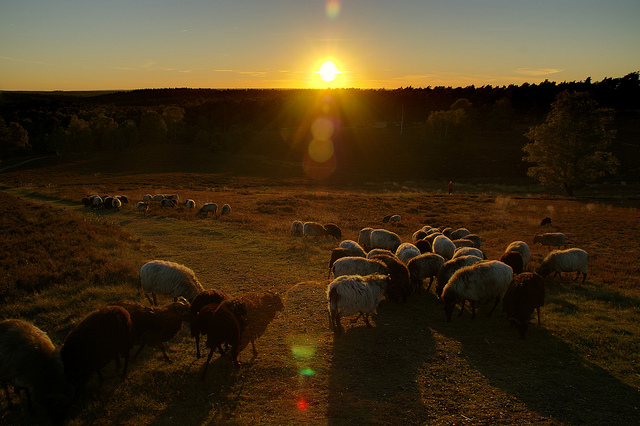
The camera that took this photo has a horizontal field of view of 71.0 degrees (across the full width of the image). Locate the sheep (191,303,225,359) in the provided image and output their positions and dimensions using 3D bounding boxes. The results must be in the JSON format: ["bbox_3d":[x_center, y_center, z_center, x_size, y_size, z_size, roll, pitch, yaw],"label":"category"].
[{"bbox_3d":[-4.487,4.760,17.603,0.840,2.095,1.216,-9,15,-44],"label":"sheep"}]

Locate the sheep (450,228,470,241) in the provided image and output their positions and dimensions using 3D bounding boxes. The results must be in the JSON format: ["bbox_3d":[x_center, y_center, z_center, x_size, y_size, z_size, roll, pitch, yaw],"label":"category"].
[{"bbox_3d":[9.680,1.350,30.750,1.204,0.656,0.896,-13,9,-3],"label":"sheep"}]

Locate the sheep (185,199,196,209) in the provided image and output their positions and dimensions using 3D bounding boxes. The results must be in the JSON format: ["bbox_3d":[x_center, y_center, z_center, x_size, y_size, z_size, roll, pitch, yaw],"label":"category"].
[{"bbox_3d":[-12.501,-1.034,43.255,0.420,0.728,1.429,-7,17,-24],"label":"sheep"}]

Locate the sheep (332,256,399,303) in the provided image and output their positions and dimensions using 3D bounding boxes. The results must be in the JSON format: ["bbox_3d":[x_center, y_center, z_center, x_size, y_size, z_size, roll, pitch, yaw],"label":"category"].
[{"bbox_3d":[2.100,3.188,21.837,3.690,1.962,1.262,9,-12,-20],"label":"sheep"}]

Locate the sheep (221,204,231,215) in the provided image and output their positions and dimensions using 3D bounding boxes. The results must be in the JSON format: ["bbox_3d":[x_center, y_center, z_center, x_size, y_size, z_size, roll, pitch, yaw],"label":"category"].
[{"bbox_3d":[-8.508,-0.374,40.316,0.699,0.759,0.796,-1,11,-17],"label":"sheep"}]

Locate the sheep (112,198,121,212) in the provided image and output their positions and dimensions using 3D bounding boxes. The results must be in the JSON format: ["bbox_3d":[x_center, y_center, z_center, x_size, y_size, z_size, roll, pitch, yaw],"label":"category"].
[{"bbox_3d":[-18.759,-0.900,41.127,0.590,0.953,1.160,-3,12,-26],"label":"sheep"}]

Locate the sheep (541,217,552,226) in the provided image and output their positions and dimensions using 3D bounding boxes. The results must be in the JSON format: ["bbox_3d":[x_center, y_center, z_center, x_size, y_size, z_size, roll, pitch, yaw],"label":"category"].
[{"bbox_3d":[18.986,0.661,37.380,1.162,0.639,0.676,-8,15,-44],"label":"sheep"}]
